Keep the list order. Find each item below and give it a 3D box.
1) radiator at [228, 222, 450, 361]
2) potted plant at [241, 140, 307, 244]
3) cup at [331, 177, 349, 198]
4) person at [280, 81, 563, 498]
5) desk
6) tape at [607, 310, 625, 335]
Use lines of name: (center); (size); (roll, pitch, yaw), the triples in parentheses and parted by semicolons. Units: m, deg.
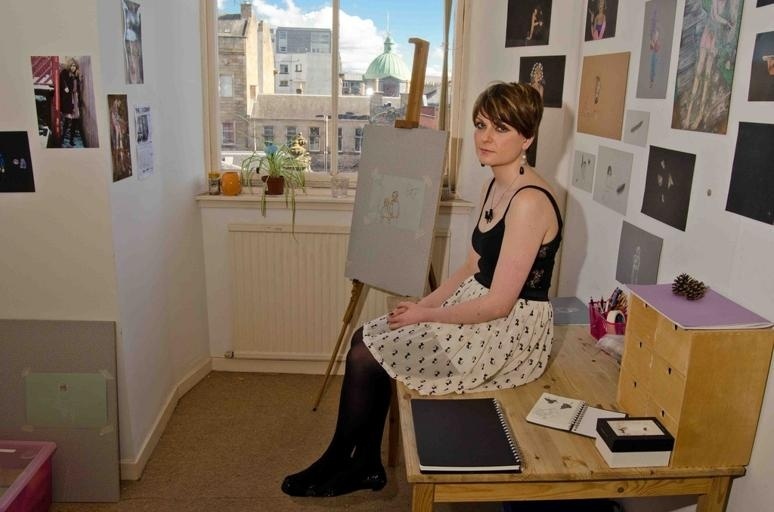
radiator: (-0.268, 0.152, 3.114); (0.780, 0.632, 0.059); (2, 8, -1)
potted plant: (-0.683, -0.481, 3.389); (0.273, 0.404, 0.373); (-3, -6, -27)
cup: (-0.295, -0.432, 3.416); (0.114, 0.133, 0.117); (4, 9, -1)
person: (0.130, 0.188, 2.370); (1.242, 1.787, 0.621); (-1, 8, -11)
desk: (0.595, 0.649, 1.996); (0.735, 0.423, 0.770); (-2, 19, -2)
tape: (1.033, 0.298, 2.446); (0.083, 0.134, 0.077); (-1, 9, 5)
